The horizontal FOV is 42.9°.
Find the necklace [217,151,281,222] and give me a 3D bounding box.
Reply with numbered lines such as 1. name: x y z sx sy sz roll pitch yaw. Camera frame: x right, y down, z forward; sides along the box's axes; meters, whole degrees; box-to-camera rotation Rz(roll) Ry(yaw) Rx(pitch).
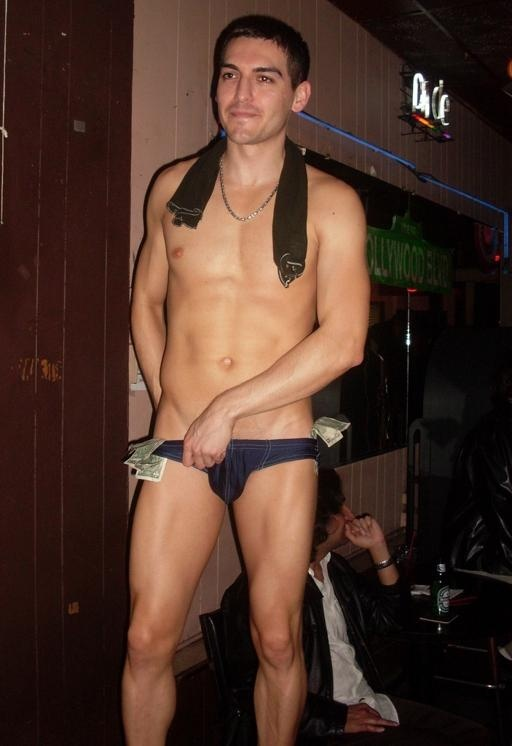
1. necklace: -0.012 -0.410 1.450 0.159 0.201 0.014 6 -25 4

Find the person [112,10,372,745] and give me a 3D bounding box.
1. person: -0.086 0.090 1.414 0.573 1.388 0.368 10 -2 11

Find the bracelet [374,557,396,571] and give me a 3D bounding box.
1. bracelet: 0.495 0.718 2.497 0.050 0.051 0.051 -26 -14 11
